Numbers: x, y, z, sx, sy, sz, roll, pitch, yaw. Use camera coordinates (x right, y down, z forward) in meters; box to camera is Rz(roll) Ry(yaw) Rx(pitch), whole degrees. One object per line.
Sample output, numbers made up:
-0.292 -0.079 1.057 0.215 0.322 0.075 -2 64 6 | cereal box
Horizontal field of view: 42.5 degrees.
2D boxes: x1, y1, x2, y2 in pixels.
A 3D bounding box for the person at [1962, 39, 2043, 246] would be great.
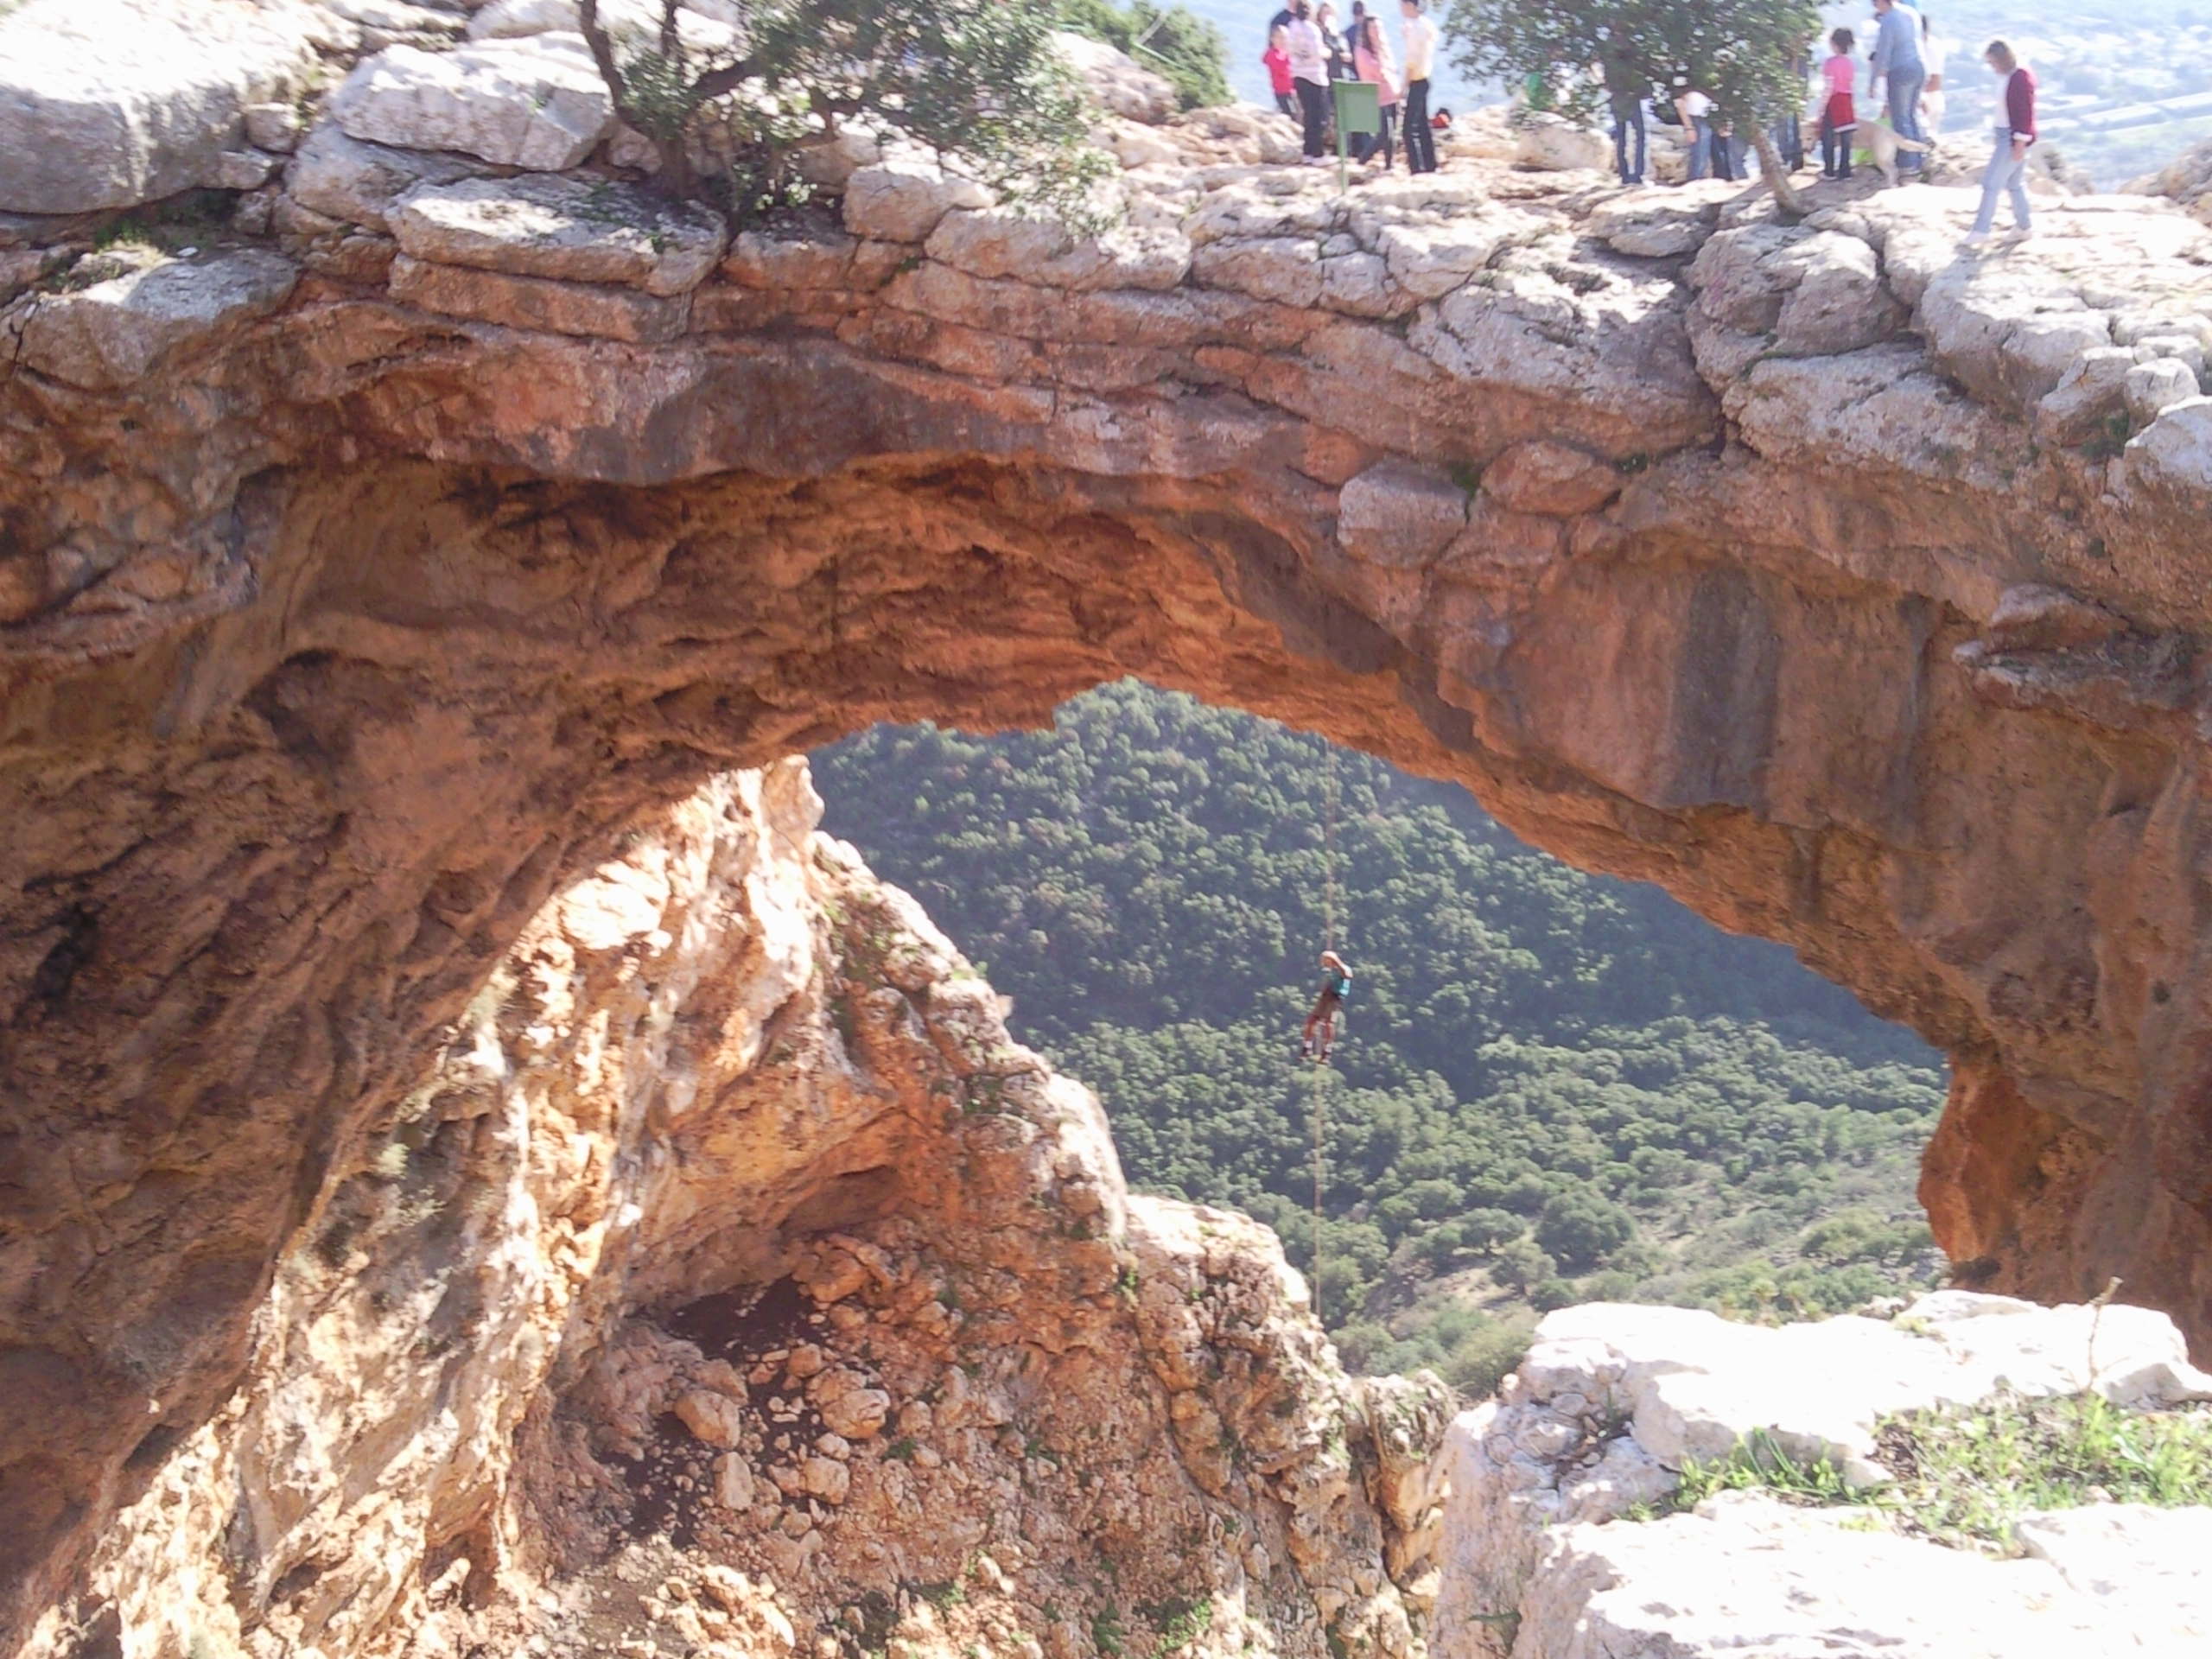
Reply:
5.151 -3.950 16.230 0.338 1.430 0.716 4 -4 16 | person
